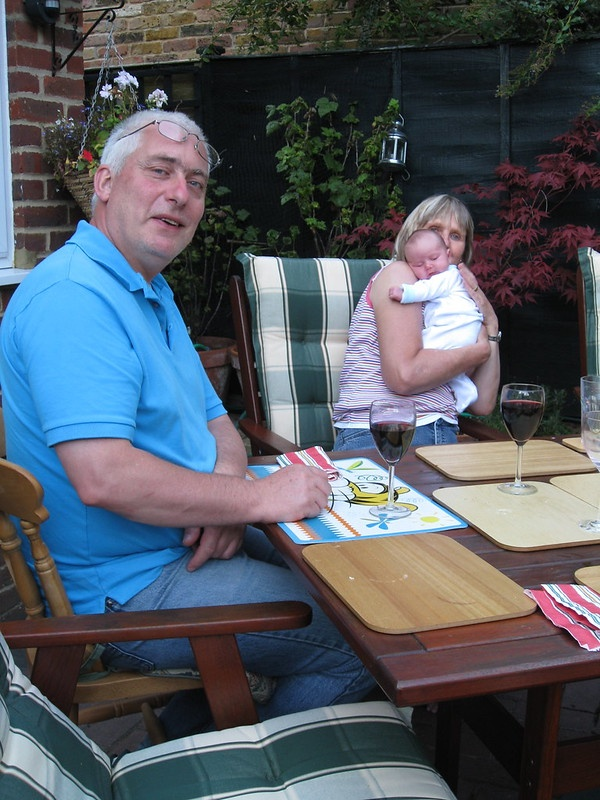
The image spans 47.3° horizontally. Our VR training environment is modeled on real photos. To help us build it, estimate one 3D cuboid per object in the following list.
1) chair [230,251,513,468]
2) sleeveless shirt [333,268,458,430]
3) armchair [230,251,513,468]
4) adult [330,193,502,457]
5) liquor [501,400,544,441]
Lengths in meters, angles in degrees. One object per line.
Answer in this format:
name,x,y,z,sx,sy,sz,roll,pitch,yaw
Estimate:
chair,0.336,-0.183,2.315,0.762,0.832,0.821,-5,10,-21
sleeveless shirt,0.249,-0.156,2.236,0.524,0.537,0.423,5,10,22
armchair,0.358,-0.151,2.332,0.762,0.832,0.821,-5,10,-21
adult,0.364,-0.014,2.131,0.506,1.198,0.429,4,18,10
liquor,0.410,0.044,1.283,0.070,0.101,0.111,1,10,13
